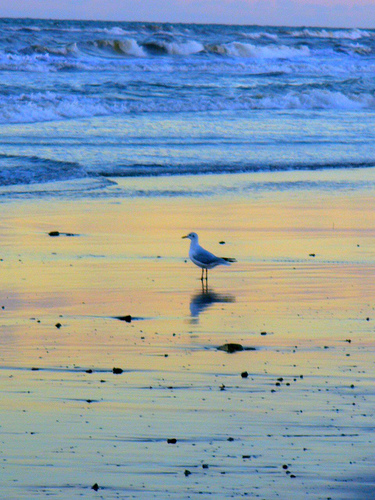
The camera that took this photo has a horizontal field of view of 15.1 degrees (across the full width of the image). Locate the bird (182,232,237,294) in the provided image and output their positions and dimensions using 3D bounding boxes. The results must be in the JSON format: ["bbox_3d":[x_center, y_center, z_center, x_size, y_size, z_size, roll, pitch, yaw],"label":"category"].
[{"bbox_3d":[0.391,0.108,20.500,1.134,1.064,0.420,2,2,11],"label":"bird"}]

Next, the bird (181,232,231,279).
[{"bbox_3d":[0.319,0.090,20.470,0.766,0.625,0.300,4,9,25],"label":"bird"}]
